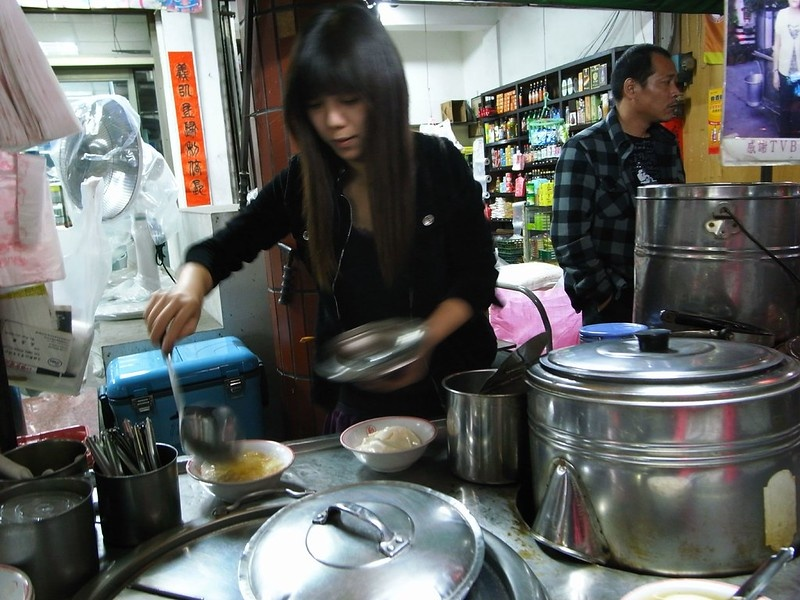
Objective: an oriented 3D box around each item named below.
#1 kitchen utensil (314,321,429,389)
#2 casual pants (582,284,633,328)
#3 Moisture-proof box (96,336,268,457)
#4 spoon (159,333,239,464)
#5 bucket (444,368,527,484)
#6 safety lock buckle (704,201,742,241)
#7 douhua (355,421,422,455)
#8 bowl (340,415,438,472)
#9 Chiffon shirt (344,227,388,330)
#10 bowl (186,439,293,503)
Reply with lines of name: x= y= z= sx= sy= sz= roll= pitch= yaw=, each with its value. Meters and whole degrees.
kitchen utensil: x=-0.060 y=0.117 z=1.329 sx=0.261 sy=0.108 sz=0.155 roll=-7 pitch=12 yaw=-7
casual pants: x=1.069 y=0.006 z=3.066 sx=0.223 sy=0.218 sz=0.215 roll=2 pitch=-28 yaw=30
Moisture-proof box: x=-1.147 y=0.545 z=3.175 sx=0.801 sy=0.556 sz=0.522 roll=-12 pitch=18 yaw=-29
spoon: x=-0.432 y=0.241 z=1.320 sx=0.123 sy=0.232 sz=0.187 roll=-10 pitch=13 yaw=-22
bucket: x=0.168 y=0.283 z=1.381 sx=0.199 sy=0.204 sz=0.200 roll=-2 pitch=3 yaw=0
safety lock buckle: x=0.809 y=-0.201 z=1.475 sx=0.068 sy=0.091 sz=0.036 roll=5 pitch=20 yaw=24
douhua: x=-0.023 y=0.334 z=1.432 sx=0.143 sy=0.043 sz=0.177 roll=-4 pitch=12 yaw=4
bowl: x=-0.026 y=0.349 z=1.447 sx=0.227 sy=0.082 sz=0.229 roll=-7 pitch=8 yaw=1
Chiffon shirt: x=-0.103 y=-0.092 z=1.905 sx=0.179 sy=0.552 sz=0.076 roll=9 pitch=56 yaw=-1
bowl: x=-0.338 y=0.383 z=1.323 sx=0.155 sy=0.055 sz=0.154 roll=0 pitch=5 yaw=0
